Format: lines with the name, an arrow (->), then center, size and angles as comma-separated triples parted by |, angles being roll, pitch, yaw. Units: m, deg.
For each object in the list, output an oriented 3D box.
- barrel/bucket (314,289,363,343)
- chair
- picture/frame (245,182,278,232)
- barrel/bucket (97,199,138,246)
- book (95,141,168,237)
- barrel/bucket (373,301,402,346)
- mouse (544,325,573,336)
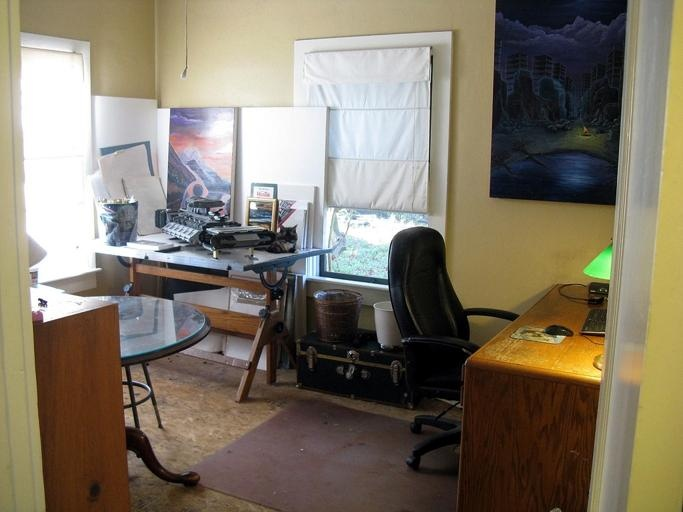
barrel/bucket -> -0.029, 0.463, 4.192 | 0.377, 0.300, 0.353 | -3, 4, 0
chair -> 0.736, 0.541, 3.099 | 0.877, 1.360, 0.874 | -5, 6, -5
picture/frame -> -0.695, -0.434, 4.655 | 0.338, 0.386, 0.287 | 3, 11, 12
barrel/bucket -> -1.798, -0.265, 4.322 | 0.324, 0.380, 0.355 | 0, 4, 0
book -> -1.923, -0.594, 4.909 | 0.613, 0.815, 0.277 | -9, -3, -36
barrel/bucket -> 0.330, 0.504, 4.059 | 0.276, 0.304, 0.288 | -2, 9, 0
mouse -> 1.054, 0.364, 2.587 | 0.084, 0.026, 0.059 | 3, 4, 22
